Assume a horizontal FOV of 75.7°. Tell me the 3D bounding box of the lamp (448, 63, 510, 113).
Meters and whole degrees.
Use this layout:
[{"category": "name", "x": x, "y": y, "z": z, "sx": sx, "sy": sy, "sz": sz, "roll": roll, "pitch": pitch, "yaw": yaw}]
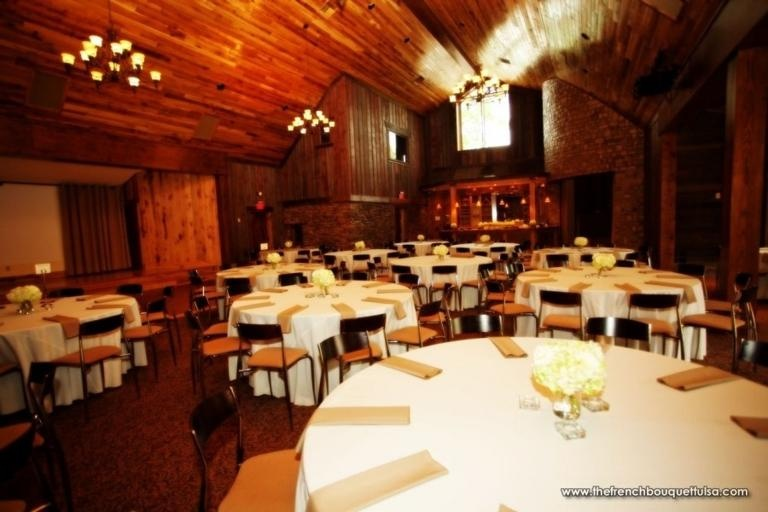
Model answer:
[{"category": "lamp", "x": 2.200, "y": -3.998, "z": 11.368, "sx": 1.344, "sy": 0.688, "sz": 1.331, "roll": 12, "pitch": 17, "yaw": 37}]
